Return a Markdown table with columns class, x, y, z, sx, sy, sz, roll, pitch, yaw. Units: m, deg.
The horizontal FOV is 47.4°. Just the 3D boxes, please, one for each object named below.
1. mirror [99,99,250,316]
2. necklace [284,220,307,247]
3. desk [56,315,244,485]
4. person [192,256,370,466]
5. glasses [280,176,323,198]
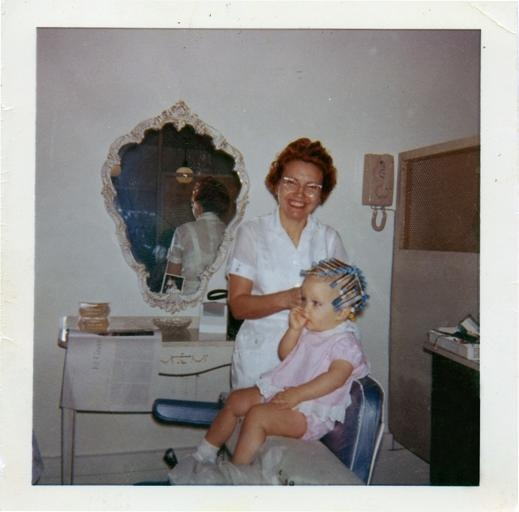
| class | x | y | z | sx | sy | sz | roll | pitch | yaw |
| --- | --- | --- | --- | --- | --- | --- | --- | --- | --- |
| mirror | -0.338 | -0.215 | 2.274 | 0.739 | 1.099 | 0.063 | 1 | 7 | -10 |
| necklace | 0.135 | -0.096 | 2.293 | 0.064 | 0.119 | 0.030 | 1 | 7 | -9 |
| desk | -0.438 | 0.576 | 2.250 | 0.560 | 0.568 | 0.226 | 3 | -1 | -9 |
| person | 0.032 | 0.391 | 2.531 | 0.772 | 1.018 | 0.503 | 0 | 8 | -6 |
| glasses | 0.160 | -0.263 | 2.264 | 0.160 | 0.073 | 0.026 | 3 | 3 | 3 |
